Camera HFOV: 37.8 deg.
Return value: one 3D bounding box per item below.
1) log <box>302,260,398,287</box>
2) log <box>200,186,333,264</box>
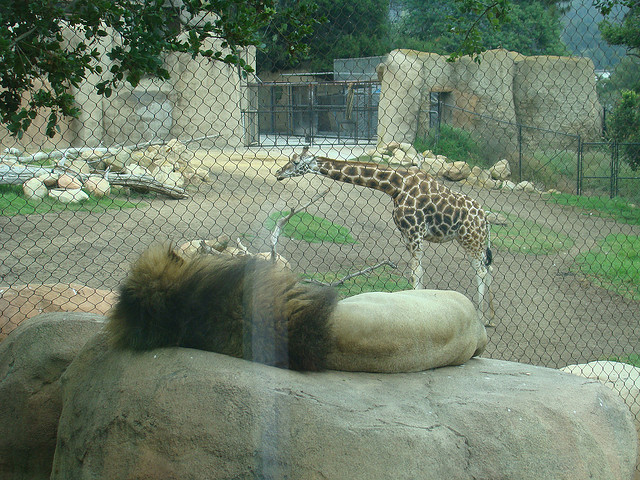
[{"bbox_3d":[0.340,0.404,10.302,0.849,0.301,0.876,-5,10,-37],"label":"log"},{"bbox_3d":[-0.363,-0.130,9.707,1.055,0.973,0.907,-7,12,-42],"label":"log"}]
